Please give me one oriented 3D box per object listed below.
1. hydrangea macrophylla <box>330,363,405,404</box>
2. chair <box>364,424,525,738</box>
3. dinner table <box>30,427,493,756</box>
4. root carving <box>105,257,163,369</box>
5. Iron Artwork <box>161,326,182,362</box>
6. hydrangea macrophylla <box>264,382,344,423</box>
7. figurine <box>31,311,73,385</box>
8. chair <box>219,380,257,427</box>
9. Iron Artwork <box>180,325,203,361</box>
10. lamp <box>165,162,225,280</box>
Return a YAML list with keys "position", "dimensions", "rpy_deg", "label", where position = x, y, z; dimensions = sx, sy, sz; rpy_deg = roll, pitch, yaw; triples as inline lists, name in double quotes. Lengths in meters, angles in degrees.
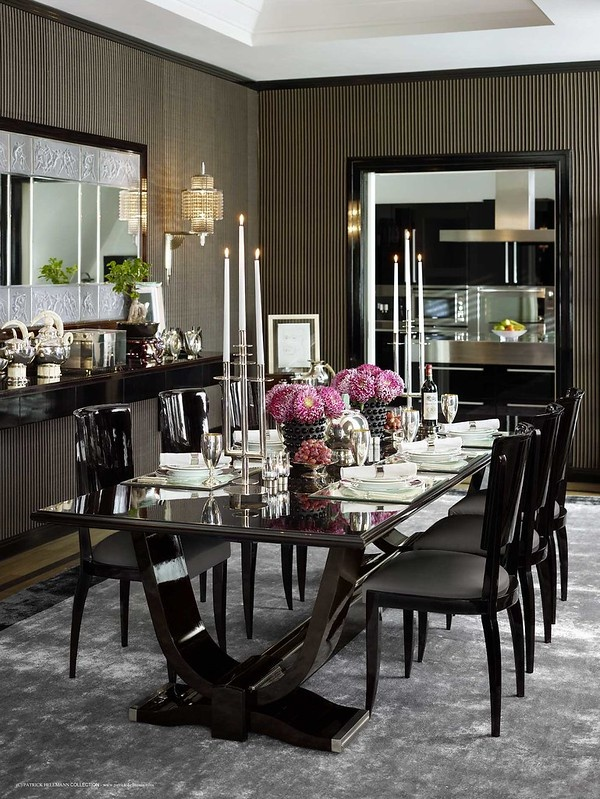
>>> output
- position: [0.276, -0.057, 2.537]
  dimensions: [0.182, 0.124, 0.181]
  rpy_deg: [-1, 5, -33]
  label: "hydrangea macrophylla"
- position: [0.398, 0.467, 1.793]
  dimensions: [0.417, 0.687, 0.418]
  rpy_deg: [0, -2, 14]
  label: "chair"
- position: [-0.069, 0.528, 1.802]
  dimensions: [0.853, 0.675, 1.051]
  rpy_deg: [-1, -4, 26]
  label: "dinner table"
- position: [-1.139, -0.595, 4.518]
  dimensions: [0.303, 0.698, 0.396]
  rpy_deg: [-5, 3, 11]
  label: "root carving"
- position: [-0.923, -0.396, 4.770]
  dimensions: [0.071, 0.219, 0.175]
  rpy_deg: [-1, 13, 29]
  label: "Iron Artwork"
- position: [0.013, 0.023, 2.118]
  dimensions: [0.177, 0.104, 0.139]
  rpy_deg: [5, -2, -33]
  label: "hydrangea macrophylla"
- position: [-1.355, -0.300, 3.521]
  dimensions: [0.249, 0.347, 0.222]
  rpy_deg: [13, 15, 19]
  label: "figurine"
- position: [-0.308, 0.016, 3.379]
  dimensions: [0.193, 0.231, 0.149]
  rpy_deg: [-1, 11, 4]
  label: "chair"
- position: [-0.823, -0.412, 4.915]
  dimensions: [0.145, 0.278, 0.377]
  rpy_deg: [1, -3, -10]
  label: "Iron Artwork"
- position: [-0.864, -1.341, 5.267]
  dimensions: [0.423, 0.884, 0.291]
  rpy_deg: [1, -3, -6]
  label: "lamp"
